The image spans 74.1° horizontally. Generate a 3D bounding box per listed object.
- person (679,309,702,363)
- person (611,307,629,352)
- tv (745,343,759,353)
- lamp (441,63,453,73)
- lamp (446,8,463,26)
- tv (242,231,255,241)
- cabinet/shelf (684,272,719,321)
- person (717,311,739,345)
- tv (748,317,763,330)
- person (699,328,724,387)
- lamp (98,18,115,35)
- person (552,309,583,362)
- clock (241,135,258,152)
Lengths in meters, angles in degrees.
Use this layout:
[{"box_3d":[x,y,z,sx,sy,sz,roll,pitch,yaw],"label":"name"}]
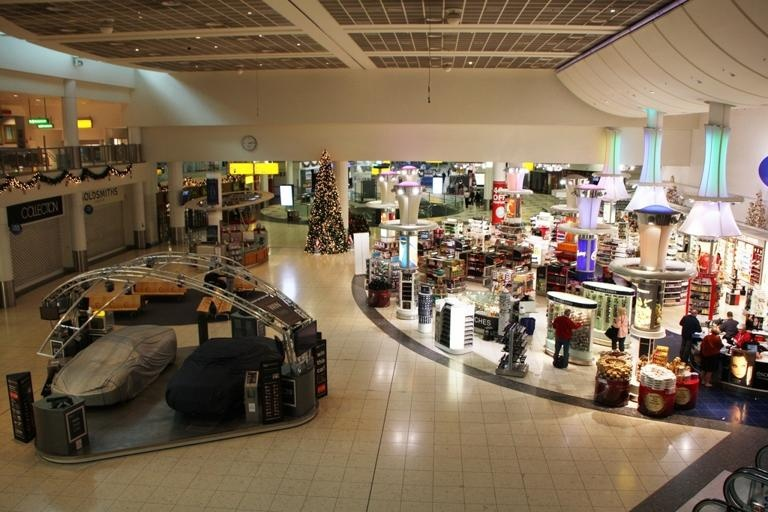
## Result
[{"box_3d":[7.632,2.054,12.629,0.423,1.187,0.342,6,13,31],"label":"person"},{"box_3d":[6.258,1.959,13.410,0.380,1.255,0.742,5,13,27],"label":"person"},{"box_3d":[8.500,2.113,11.682,0.322,0.205,0.172,0,0,17],"label":"tv"},{"box_3d":[2.280,-6.783,18.221,0.291,0.266,0.296,-2,-13,4],"label":"lamp"},{"box_3d":[1.612,-5.530,11.755,0.333,0.205,0.319,-1,6,3],"label":"lamp"},{"box_3d":[-6.214,-0.926,23.216,0.452,0.304,0.433,1,10,7],"label":"tv"},{"box_3d":[9.963,1.189,15.698,0.716,1.266,1.201,0,11,3],"label":"cabinet/shelf"},{"box_3d":[8.711,1.793,12.899,0.352,0.787,0.439,-10,27,-13],"label":"person"},{"box_3d":[10.728,1.948,14.526,0.433,0.397,0.102,14,-5,19],"label":"tv"},{"box_3d":[7.769,2.443,12.051,0.587,1.272,0.385,-9,14,-34],"label":"person"},{"box_3d":[-7.023,-5.796,12.864,0.412,0.354,0.414,7,10,35],"label":"lamp"},{"box_3d":[4.587,2.031,12.779,0.583,1.521,0.705,4,12,24],"label":"person"},{"box_3d":[-5.868,-4.871,21.935,0.667,0.612,0.147,13,11,3],"label":"clock"}]
